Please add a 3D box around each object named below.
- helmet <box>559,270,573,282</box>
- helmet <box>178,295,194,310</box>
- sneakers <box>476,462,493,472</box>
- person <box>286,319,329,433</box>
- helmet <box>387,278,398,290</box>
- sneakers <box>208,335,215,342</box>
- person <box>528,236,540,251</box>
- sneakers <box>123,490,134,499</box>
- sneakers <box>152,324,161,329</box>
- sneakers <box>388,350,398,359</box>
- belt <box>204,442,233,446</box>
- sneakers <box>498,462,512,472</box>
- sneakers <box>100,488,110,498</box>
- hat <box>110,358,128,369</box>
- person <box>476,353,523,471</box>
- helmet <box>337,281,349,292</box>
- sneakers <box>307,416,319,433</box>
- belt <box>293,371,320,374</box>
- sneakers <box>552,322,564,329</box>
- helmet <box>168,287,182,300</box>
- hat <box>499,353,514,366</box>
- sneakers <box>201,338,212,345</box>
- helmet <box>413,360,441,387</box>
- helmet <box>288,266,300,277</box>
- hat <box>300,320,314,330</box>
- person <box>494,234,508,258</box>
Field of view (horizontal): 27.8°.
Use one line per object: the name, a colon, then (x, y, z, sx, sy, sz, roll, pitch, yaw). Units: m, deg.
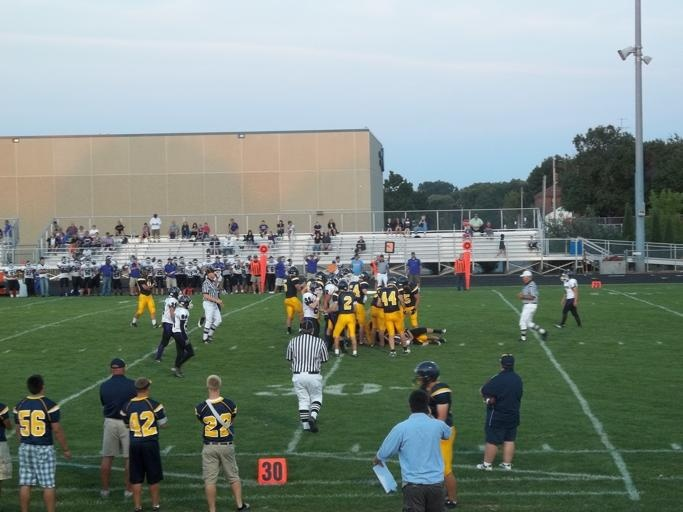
helmet: (8.057, 0.695, 49.418, 0.439, 0.327, 0.412, 17, 22, 19)
helmet: (-4.373, 1.253, 38.014, 0.325, 0.411, 0.457, -3, -1, 8)
sneakers: (3.389, 4.988, 32.640, 0.159, 0.181, 0.430, 4, -1, -31)
person: (-0.843, 2.949, 34.233, 0.975, 1.882, 0.601, -2, -1, -2)
helmet: (1.444, 0.759, 39.685, 0.285, 0.207, 0.497, -2, -1, 3)
sneakers: (-3.975, 2.481, 41.667, 0.207, 0.270, 0.492, 1, 0, -1)
person: (8.912, -0.593, 63.940, 0.645, 0.744, 1.928, 0, 2, 13)
sneakers: (-4.963, 5.539, 32.046, 0.207, 0.248, 0.557, 1, -9, 1)
sneakers: (-5.955, 2.235, 44.081, 0.242, 0.084, 0.178, -27, -47, 29)
sneakers: (1.496, 2.797, 39.771, 0.274, 0.255, 0.115, 2, 3, 18)
belt: (-2.822, 4.260, 31.455, 0.626, 0.063, 0.139, -2, -1, -8)
sneakers: (3.876, 4.986, 32.613, 0.136, 0.149, 0.335, -1, 6, -35)
sneakers: (-5.523, 5.516, 32.111, 0.160, 0.187, 0.202, 1, 2, 24)
hat: (-5.278, 2.513, 32.423, 0.269, 0.203, 0.356, 0, 14, -1)
person: (3.775, 3.680, 32.558, 0.987, 2.068, 0.620, -3, -1, 5)
helmet: (0.032, 0.826, 39.281, 0.270, 0.258, 0.213, 2, 1, -33)
sneakers: (-0.702, 4.158, 34.187, 0.182, 0.482, 0.210, -10, -4, 2)
belt: (-0.881, 2.868, 34.103, 0.610, 0.084, 0.150, -2, -1, 1)
sneakers: (6.786, 2.146, 43.002, 0.276, 0.191, 0.099, 16, 9, 42)
helmet: (-4.709, 1.016, 38.411, 0.253, 0.313, 0.316, 8, 14, 23)
hat: (3.885, 2.477, 32.444, 0.370, 0.275, 0.523, -2, -31, 4)
sneakers: (-4.088, 2.517, 41.558, 0.304, 0.196, 0.262, -3, -1, 7)
helmet: (1.920, 2.668, 31.479, 0.595, 0.538, 0.467, 8, 2, 9)
helmet: (-1.495, 0.461, 42.424, 0.303, 0.295, 0.275, -6, 11, -26)
hat: (-0.863, 1.687, 34.124, 0.206, 0.184, 0.337, -2, -1, -34)
person: (7.438, -0.508, 63.861, 0.447, 0.836, 1.649, -3, -1, 6)
